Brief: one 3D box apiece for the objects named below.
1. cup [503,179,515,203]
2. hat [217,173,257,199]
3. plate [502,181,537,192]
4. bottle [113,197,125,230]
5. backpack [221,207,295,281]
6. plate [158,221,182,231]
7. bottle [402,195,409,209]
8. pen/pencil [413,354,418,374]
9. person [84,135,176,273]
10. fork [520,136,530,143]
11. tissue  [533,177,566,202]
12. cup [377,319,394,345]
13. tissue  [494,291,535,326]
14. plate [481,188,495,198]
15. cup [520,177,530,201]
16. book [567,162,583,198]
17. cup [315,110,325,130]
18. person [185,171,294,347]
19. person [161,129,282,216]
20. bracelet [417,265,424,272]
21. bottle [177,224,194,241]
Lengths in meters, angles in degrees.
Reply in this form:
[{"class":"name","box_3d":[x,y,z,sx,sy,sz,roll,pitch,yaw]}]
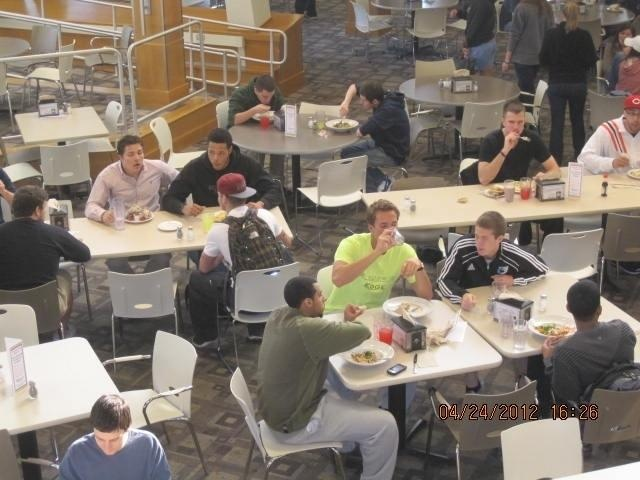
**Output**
[{"class":"cup","box_3d":[1.759,-0.446,5.618,0.077,0.183,0.112,1,16,16]},{"class":"hat","box_3d":[-0.699,-0.415,4.952,0.281,0.122,0.191,20,37,25]},{"class":"plate","box_3d":[1.882,-0.511,5.683,0.227,0.101,0.142,0,14,-1]},{"class":"bottle","box_3d":[-1.798,-0.238,5.358,0.122,0.245,0.230,-9,17,-18]},{"class":"backpack","box_3d":[-0.532,0.052,4.849,0.440,0.498,0.287,-22,-5,-34]},{"class":"plate","box_3d":[-1.344,-0.120,5.342,0.123,0.017,0.126,0,30,-5]},{"class":"bottle","box_3d":[0.779,-0.338,5.507,0.065,0.110,0.066,-1,41,1]},{"class":"pen/pencil","box_3d":[0.592,0.769,3.778,0.020,0.016,0.142,3,28,13]},{"class":"person","box_3d":[-1.768,-0.356,5.678,0.809,1.219,0.843,-5,16,-7]},{"class":"fork","box_3d":[2.028,-0.997,5.962,0.123,0.038,0.048,18,17,15]},{"class":"tissue ","box_3d":[2.168,-0.467,5.643,0.273,0.195,0.108,-5,16,-7]},{"class":"cup","box_3d":[0.429,0.613,4.000,0.107,0.126,0.120,0,27,2]},{"class":"tissue ","box_3d":[1.292,0.420,4.067,0.169,0.232,0.230,-6,14,-31]},{"class":"plate","box_3d":[1.602,-0.445,5.768,0.097,0.055,0.193,-3,16,2]},{"class":"cup","box_3d":[1.920,-0.473,5.641,0.090,0.191,0.099,4,17,23]},{"class":"book","box_3d":[2.419,-0.579,5.714,0.126,0.327,0.213,4,17,23]},{"class":"cup","box_3d":[-0.014,-1.460,7.373,0.151,0.273,0.256,0,33,1]},{"class":"person","box_3d":[-0.707,0.195,4.980,0.737,1.450,0.824,-27,47,-25]},{"class":"person","box_3d":[-0.986,-0.457,6.072,1.187,1.075,0.855,-6,42,-7]},{"class":"bracelet","box_3d":[0.731,0.208,4.408,0.037,0.052,0.020,0,63,-1]},{"class":"bottle","box_3d":[-1.156,-0.063,5.232,0.169,0.169,0.093,-10,27,-32]}]
